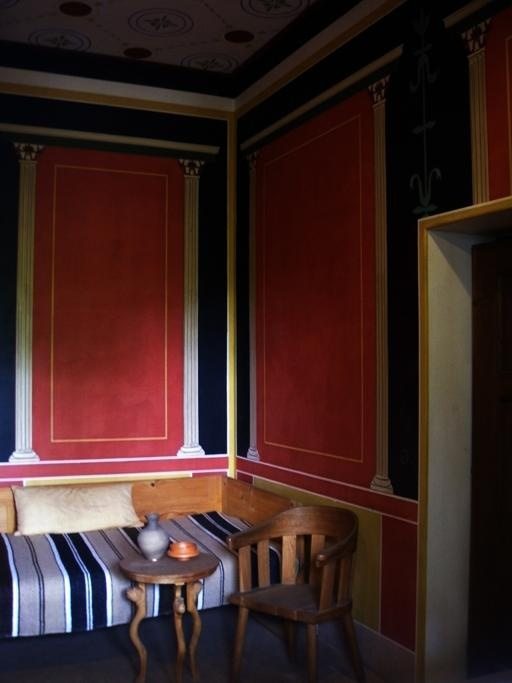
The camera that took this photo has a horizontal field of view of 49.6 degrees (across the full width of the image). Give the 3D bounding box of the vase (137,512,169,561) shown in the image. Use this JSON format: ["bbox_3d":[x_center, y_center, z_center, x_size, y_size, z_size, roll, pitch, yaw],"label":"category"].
[{"bbox_3d":[-0.483,0.949,2.619,0.143,0.262,0.155,-16,-17,34],"label":"vase"}]

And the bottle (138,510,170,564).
[{"bbox_3d":[-0.497,0.909,2.592,0.132,0.253,0.151,-3,-4,22],"label":"bottle"}]
